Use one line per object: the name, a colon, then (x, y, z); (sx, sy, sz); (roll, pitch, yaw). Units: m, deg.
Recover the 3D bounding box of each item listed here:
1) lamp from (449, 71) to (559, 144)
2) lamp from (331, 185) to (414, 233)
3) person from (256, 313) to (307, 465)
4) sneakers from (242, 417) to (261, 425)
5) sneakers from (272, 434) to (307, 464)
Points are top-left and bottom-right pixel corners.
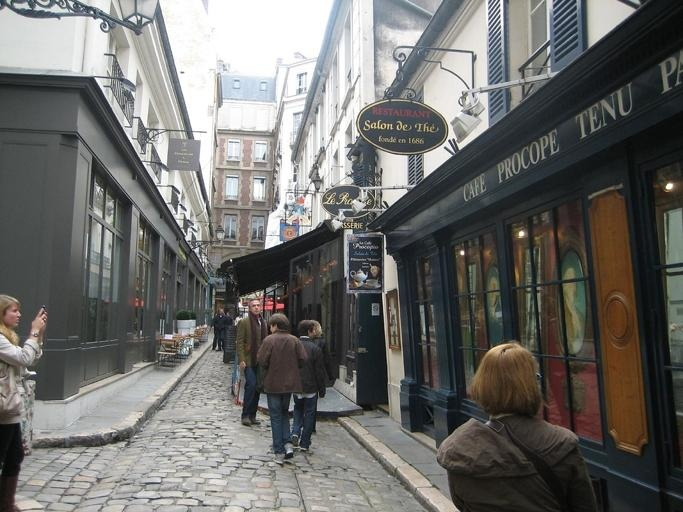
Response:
lamp: (1.920, -1.869, 6.781); (1.193, 0.497, 0.391); (-14, 8, 0)
lamp: (0.469, -1.085, 11.534); (1.401, 0.964, 1.715); (7, -12, -41)
person: (-0.851, 1.738, 7.613); (0.642, 1.928, 0.703); (-2, -8, 7)
sneakers: (-1.522, 2.789, 9.427); (0.319, 0.151, 0.133); (0, -7, 5)
sneakers: (-0.744, 2.596, 7.472); (0.231, 0.293, 0.662); (4, -17, -13)
